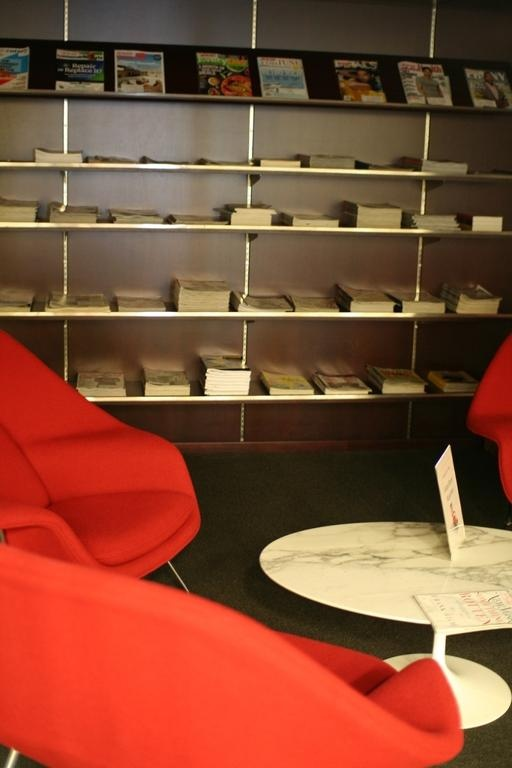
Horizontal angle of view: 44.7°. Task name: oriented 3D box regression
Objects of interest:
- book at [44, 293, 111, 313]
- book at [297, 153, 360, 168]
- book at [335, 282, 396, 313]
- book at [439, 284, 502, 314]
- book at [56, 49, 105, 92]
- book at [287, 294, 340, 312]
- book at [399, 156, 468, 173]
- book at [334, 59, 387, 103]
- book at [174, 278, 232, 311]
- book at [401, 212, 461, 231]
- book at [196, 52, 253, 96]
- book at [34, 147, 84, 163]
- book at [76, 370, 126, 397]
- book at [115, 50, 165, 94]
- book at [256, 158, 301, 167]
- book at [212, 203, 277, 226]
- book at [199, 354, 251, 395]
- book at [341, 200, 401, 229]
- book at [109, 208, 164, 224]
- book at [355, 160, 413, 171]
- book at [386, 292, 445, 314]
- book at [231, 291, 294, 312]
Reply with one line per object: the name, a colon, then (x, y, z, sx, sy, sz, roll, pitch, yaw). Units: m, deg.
book: (-0.978, -0.457, 3.443, 0.329, 0.077, 0.354, -2, 14, -15)
book: (0.398, -1.246, 3.475, 0.331, 0.108, 0.317, 1, 14, -1)
book: (0.646, -0.508, 3.680, 0.359, 0.139, 0.319, 3, 14, 6)
book: (1.253, -0.559, 3.734, 0.228, 0.098, 0.272, 0, 19, -10)
book: (-0.922, -1.628, 3.234, 0.290, 0.252, 0.029, 0, -21, -8)
book: (0.330, -0.471, 3.644, 0.284, 0.072, 0.276, 1, 14, -1)
book: (0.998, -1.225, 3.487, 0.355, 0.098, 0.143, 5, 14, 13)
book: (0.569, -1.684, 3.464, 0.328, 0.318, 0.021, -1, -22, -16)
book: (-0.309, -0.510, 3.556, 0.324, 0.162, 0.329, -1, 14, -8)
book: (1.020, -0.939, 3.604, 0.340, 0.112, 0.246, 2, 14, 2)
book: (-0.182, -1.671, 3.360, 0.319, 0.258, 0.032, 3, -24, -14)
book: (-1.036, -1.198, 3.249, 0.151, 0.051, 0.150, 0, 11, -9)
book: (-0.866, 0.001, 3.489, 0.191, 0.044, 0.187, -3, 17, -19)
book: (-0.621, -1.642, 3.280, 0.333, 0.277, 0.034, 0, -30, -9)
book: (0.124, -1.187, 3.358, 0.214, 0.047, 0.095, 0, 14, -5)
book: (-0.062, -0.947, 3.479, 0.276, 0.129, 0.327, -1, 14, -8)
book: (-0.181, -0.057, 3.657, 0.295, 0.184, 0.331, 0, 14, -5)
book: (0.630, -0.995, 3.513, 0.274, 0.096, 0.225, 8, 14, 27)
book: (-0.650, -0.911, 3.372, 0.274, 0.080, 0.275, -2, 14, -14)
book: (0.718, -1.243, 3.525, 0.163, 0.040, 0.143, 0, 9, -6)
book: (0.934, -0.486, 3.701, 0.180, 0.069, 0.233, 1, 18, -10)
book: (0.033, -0.481, 3.608, 0.357, 0.093, 0.348, 1, 14, -3)
